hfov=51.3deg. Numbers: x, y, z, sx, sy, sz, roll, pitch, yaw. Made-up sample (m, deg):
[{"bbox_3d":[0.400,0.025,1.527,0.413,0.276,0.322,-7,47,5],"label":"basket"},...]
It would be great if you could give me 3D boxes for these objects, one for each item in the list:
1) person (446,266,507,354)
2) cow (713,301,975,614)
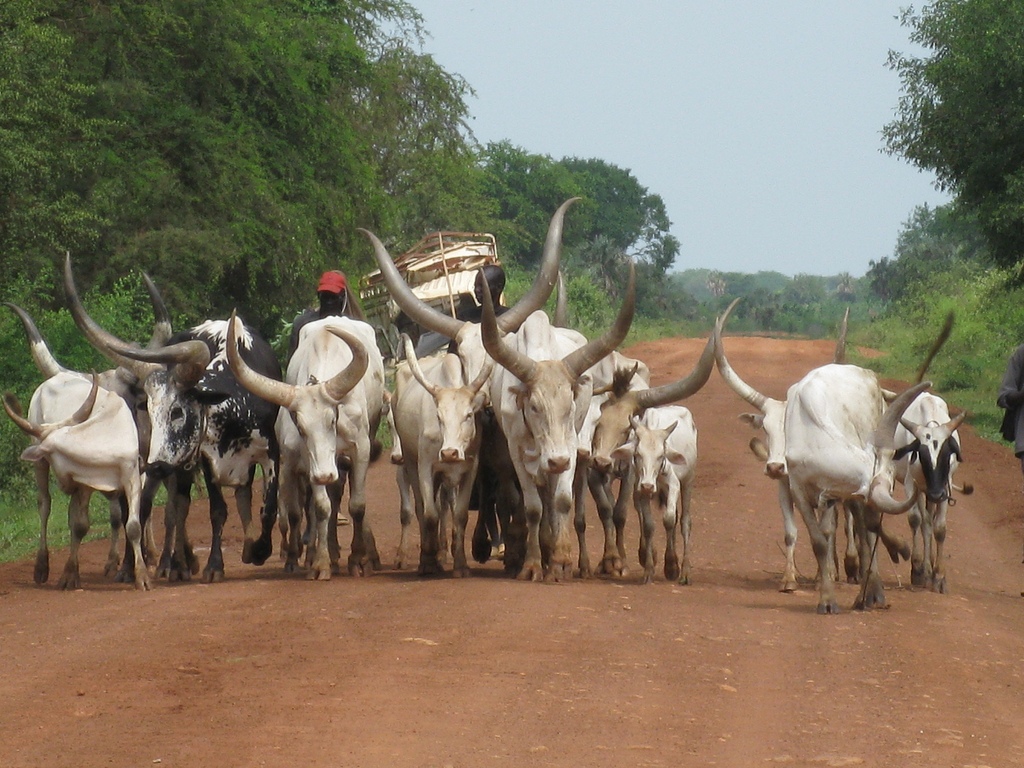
[{"bbox_3d":[-0.544,-1.295,15.428,0.515,1.370,1.844,-6,11,7],"label":"person"},{"bbox_3d":[3.506,0.804,11.127,1.412,3.053,2.208,1,2,-9],"label":"cow"}]
